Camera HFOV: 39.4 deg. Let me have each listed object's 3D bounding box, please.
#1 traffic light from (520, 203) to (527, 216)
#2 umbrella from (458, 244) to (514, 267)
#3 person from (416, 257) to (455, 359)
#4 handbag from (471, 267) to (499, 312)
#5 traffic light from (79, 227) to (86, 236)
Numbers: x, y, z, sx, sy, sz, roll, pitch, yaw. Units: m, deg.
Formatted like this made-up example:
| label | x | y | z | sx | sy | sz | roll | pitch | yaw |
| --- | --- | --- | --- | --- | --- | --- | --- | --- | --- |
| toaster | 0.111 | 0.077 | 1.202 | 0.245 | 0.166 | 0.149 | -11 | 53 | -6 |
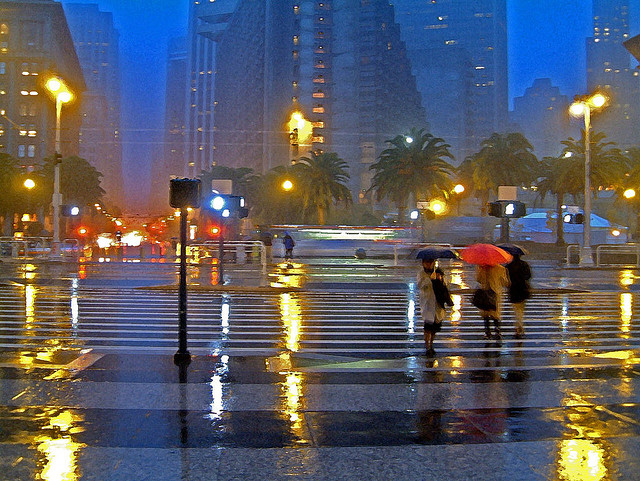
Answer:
| label | x | y | z | sx | sy | sz | roll | pitch | yaw |
| --- | --- | --- | --- | --- | --- | --- | --- | --- | --- |
| traffic light | 7.291 | -1.134 | 32.025 | 0.209 | 0.455 | 0.558 | 2 | 4 | 8 |
| umbrella | 3.535 | 0.341 | 19.224 | 1.568 | 0.491 | 0.773 | -1 | 4 | -38 |
| person | 2.319 | 1.292 | 18.050 | 0.675 | 1.924 | 1.040 | 2 | 4 | 1 |
| handbag | 3.595 | 1.039 | 19.234 | 0.552 | 0.940 | 0.359 | 2 | 4 | 9 |
| traffic light | -18.604 | -0.765 | 69.883 | 0.657 | 0.150 | 0.578 | -15 | 34 | -25 |
